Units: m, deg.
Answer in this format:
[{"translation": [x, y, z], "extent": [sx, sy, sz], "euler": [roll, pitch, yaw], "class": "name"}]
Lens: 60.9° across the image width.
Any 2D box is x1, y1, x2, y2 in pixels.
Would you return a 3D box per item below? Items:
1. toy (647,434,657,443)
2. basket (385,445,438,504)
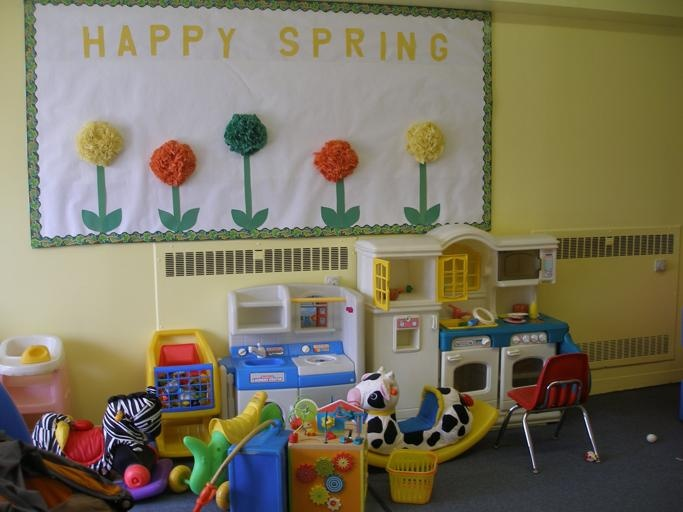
[{"translation": [2.390, 1.402, 4.454], "extent": [0.055, 0.034, 0.060], "euler": [-8, 29, -3], "class": "toy"}, {"translation": [0.449, 1.403, 3.741], "extent": [0.311, 0.236, 0.277], "euler": [-1, 13, -1], "class": "basket"}]
